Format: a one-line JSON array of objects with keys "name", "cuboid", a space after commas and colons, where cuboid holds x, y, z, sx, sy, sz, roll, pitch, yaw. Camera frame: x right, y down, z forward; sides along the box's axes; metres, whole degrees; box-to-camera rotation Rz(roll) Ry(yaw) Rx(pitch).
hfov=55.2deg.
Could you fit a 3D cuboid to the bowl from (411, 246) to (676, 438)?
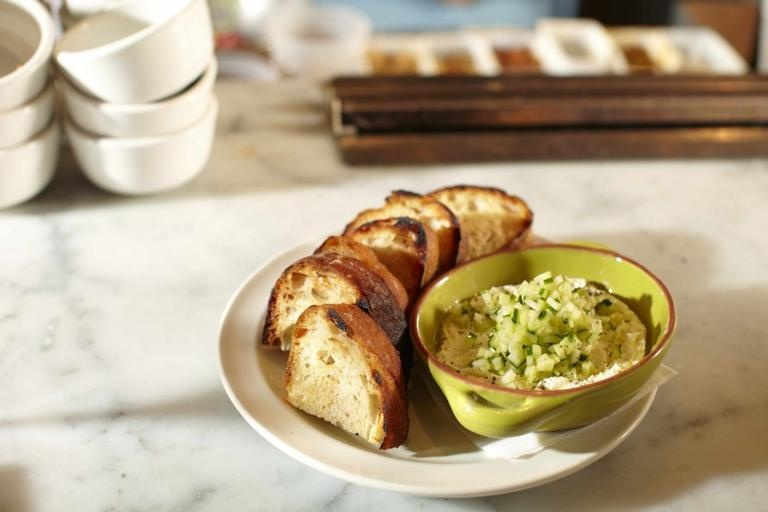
[{"name": "bowl", "cuboid": [0.217, 0.135, 1.054, 0.276, 0.119, 0.344, 4, 44, 25]}]
